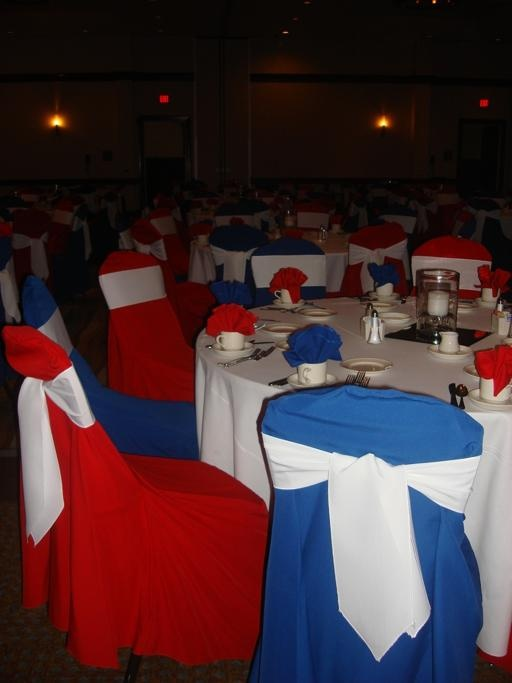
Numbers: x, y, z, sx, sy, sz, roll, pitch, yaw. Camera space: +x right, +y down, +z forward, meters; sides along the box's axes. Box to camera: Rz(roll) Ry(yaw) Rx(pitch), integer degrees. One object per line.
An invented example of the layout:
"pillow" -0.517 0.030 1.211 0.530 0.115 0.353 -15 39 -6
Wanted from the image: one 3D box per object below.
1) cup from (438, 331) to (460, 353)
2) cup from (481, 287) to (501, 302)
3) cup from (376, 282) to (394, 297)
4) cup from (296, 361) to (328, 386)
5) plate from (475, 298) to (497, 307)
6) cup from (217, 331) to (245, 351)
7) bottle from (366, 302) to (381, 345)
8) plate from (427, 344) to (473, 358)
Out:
"cup" 0.594 0.005 1.471 0.056 0.068 0.064 -1 7 9
"cup" 1.033 -0.209 2.097 0.071 0.065 0.058 -14 26 -12
"cup" 0.611 -0.250 2.262 0.051 0.075 0.071 -6 13 -11
"cup" 0.141 0.083 1.206 0.048 0.052 0.066 11 21 39
"plate" 1.025 -0.176 2.128 0.064 0.020 0.069 -2 2 -3
"cup" -0.085 -0.012 1.549 0.071 0.056 0.055 -6 16 -18
"bottle" 0.396 -0.055 1.609 0.050 0.126 0.088 1 11 16
"plate" 0.607 0.033 1.499 0.131 0.024 0.144 0 11 11
